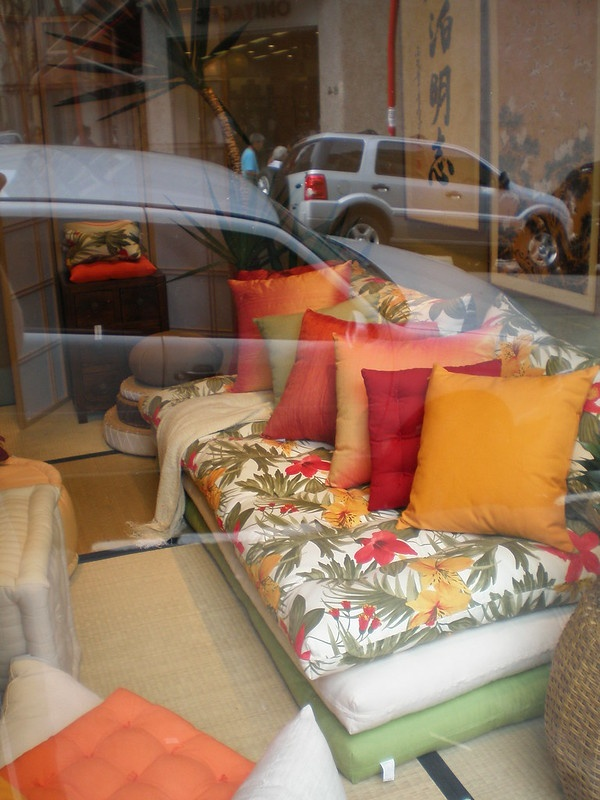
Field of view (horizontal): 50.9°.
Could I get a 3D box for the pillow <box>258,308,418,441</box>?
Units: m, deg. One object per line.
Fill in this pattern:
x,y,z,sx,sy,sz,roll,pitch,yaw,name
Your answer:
0.021,-0.032,0.756,0.164,0.149,0.049,0,24,-28,pillow

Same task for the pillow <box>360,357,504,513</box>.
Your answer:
0.154,0.036,0.712,0.190,0.173,0.064,2,15,-5,pillow

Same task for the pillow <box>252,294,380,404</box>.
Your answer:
0.016,-0.053,0.691,0.100,0.037,0.099,-13,-24,35,pillow
